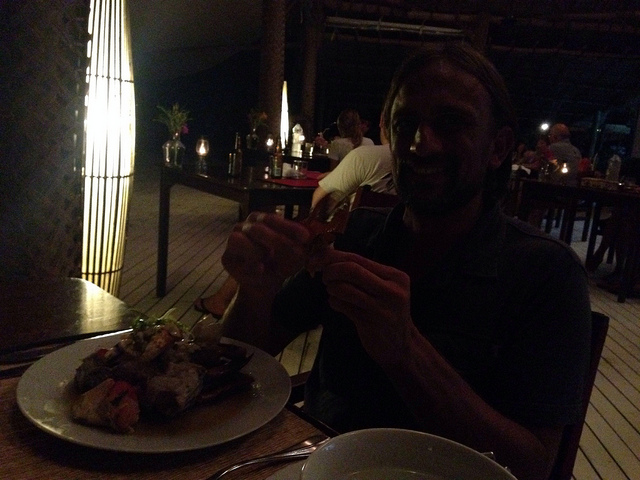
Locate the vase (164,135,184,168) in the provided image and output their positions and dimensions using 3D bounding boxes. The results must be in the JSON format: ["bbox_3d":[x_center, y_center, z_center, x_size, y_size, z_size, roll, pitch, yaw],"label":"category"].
[{"bbox_3d":[-1.292,-0.819,4.083,0.201,0.322,0.198,7,6,27],"label":"vase"}]

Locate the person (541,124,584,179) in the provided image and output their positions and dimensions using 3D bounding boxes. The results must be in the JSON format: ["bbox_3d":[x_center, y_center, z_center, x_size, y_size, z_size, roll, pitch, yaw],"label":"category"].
[{"bbox_3d":[3.864,-1.317,7.455,0.540,1.086,0.451,8,24,36],"label":"person"}]

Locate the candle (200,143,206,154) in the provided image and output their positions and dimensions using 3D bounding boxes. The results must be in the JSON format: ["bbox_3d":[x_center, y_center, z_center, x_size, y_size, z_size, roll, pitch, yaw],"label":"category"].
[{"bbox_3d":[-1.009,-0.798,3.946,0.040,0.080,0.078,3,14,-2],"label":"candle"}]

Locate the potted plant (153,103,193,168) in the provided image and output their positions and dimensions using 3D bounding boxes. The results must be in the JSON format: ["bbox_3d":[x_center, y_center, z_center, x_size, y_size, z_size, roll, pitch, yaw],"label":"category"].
[{"bbox_3d":[-1.299,-0.935,4.063,0.286,0.551,0.320,1,8,-24],"label":"potted plant"}]

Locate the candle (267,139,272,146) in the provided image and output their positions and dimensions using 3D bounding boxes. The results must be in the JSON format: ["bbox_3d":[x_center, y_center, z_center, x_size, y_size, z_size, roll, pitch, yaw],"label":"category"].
[{"bbox_3d":[-0.578,-1.125,5.230,0.067,0.031,0.092,1,24,1],"label":"candle"}]
